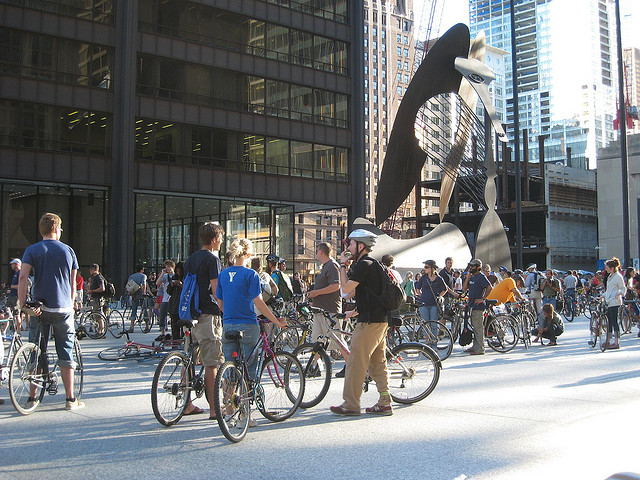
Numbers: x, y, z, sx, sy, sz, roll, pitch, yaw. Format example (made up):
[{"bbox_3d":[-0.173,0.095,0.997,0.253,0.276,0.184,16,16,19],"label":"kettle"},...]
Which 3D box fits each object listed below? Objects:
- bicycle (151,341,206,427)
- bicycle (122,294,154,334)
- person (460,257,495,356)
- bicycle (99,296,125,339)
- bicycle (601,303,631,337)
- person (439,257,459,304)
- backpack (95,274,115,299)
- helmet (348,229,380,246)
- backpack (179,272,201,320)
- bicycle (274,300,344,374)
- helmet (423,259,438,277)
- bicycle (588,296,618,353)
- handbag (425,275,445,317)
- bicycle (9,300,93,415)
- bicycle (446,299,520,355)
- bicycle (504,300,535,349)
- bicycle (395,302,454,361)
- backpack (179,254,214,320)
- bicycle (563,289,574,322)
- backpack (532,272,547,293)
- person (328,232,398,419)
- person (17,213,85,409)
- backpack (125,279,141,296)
[{"bbox_3d":[-2.302,2.310,11.889,0.472,1.325,1.015,-3,-2,45],"label":"bicycle"},{"bbox_3d":[-5.903,2.384,23.106,1.441,0.991,0.741,1,-5,32],"label":"bicycle"},{"bbox_3d":[4.030,1.703,19.157,0.795,2.388,1.548,-2,-2,13],"label":"person"},{"bbox_3d":[-6.099,2.382,21.905,0.640,0.922,1.412,-4,-13,2],"label":"bicycle"},{"bbox_3d":[8.193,2.216,20.713,0.268,1.298,0.843,-3,3,-12],"label":"bicycle"},{"bbox_3d":[4.181,1.672,23.784,0.614,2.190,0.620,-2,0,-11],"label":"person"},{"bbox_3d":[-6.201,1.442,21.404,0.490,0.564,0.389,2,-2,-13],"label":"backpack"},{"bbox_3d":[0.728,-0.044,13.025,0.458,0.306,0.669,-2,-2,2],"label":"helmet"},{"bbox_3d":[-2.136,0.903,12.057,0.322,0.752,0.239,-1,-1,-13],"label":"backpack"},{"bbox_3d":[-0.104,2.094,15.799,1.739,1.273,0.995,6,-9,2],"label":"bicycle"},{"bbox_3d":[2.929,0.687,19.775,0.363,0.498,0.299,4,-12,-2],"label":"helmet"},{"bbox_3d":[7.347,2.261,19.924,0.664,1.114,1.644,-7,-4,6],"label":"bicycle"},{"bbox_3d":[2.936,1.438,19.334,0.206,0.922,0.873,-11,20,24],"label":"handbag"},{"bbox_3d":[-4.724,1.966,12.656,0.842,1.914,1.226,-2,-2,9],"label":"bicycle"},{"bbox_3d":[4.010,2.208,19.337,2.259,1.573,1.189,-3,10,0],"label":"bicycle"},{"bbox_3d":[5.509,2.029,20.157,0.731,1.050,1.739,7,-33,26],"label":"bicycle"},{"bbox_3d":[2.798,2.234,18.316,1.885,1.335,1.012,7,-4,20],"label":"bicycle"},{"bbox_3d":[-2.115,0.781,12.143,0.361,1.100,0.428,8,8,21],"label":"backpack"},{"bbox_3d":[10.272,2.682,30.911,0.411,0.896,1.455,-2,-2,17],"label":"bicycle"},{"bbox_3d":[7.806,1.516,26.530,0.543,0.651,0.443,-1,-5,41],"label":"backpack"},{"bbox_3d":[0.714,1.438,13.017,0.962,3.220,1.057,7,-9,-23],"label":"person"},{"bbox_3d":[-4.724,1.233,12.919,1.110,3.407,1.062,2,-7,-26],"label":"person"},{"bbox_3d":[-5.781,1.464,22.783,0.336,0.243,0.462,26,-34,-23],"label":"backpack"}]
